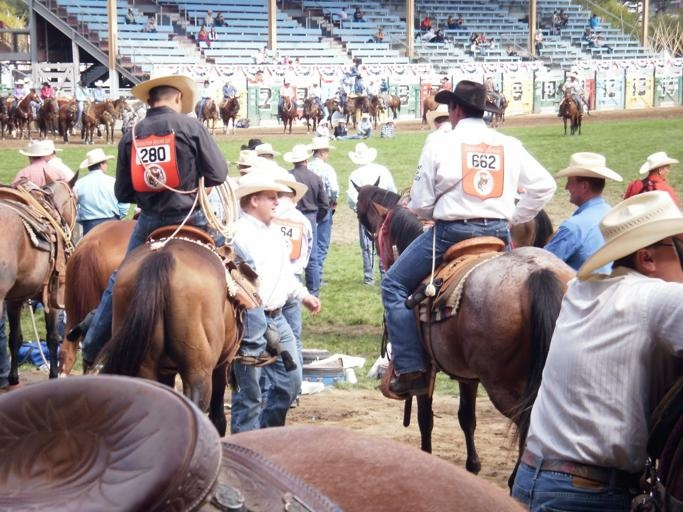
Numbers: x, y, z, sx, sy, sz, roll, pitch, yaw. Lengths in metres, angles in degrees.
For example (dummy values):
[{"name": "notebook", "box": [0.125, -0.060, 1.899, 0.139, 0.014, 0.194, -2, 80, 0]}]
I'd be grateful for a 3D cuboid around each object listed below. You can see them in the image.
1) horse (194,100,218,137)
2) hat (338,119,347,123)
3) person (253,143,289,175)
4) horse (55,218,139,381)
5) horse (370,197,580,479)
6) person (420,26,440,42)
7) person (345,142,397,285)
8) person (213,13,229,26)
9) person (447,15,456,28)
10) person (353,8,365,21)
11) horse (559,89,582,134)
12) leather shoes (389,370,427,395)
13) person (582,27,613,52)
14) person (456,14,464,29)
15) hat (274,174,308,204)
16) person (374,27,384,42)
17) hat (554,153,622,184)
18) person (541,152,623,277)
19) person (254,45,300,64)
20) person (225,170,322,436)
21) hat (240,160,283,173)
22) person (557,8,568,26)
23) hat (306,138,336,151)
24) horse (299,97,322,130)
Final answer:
[{"name": "horse", "box": [-4.087, -4.493, 36.592, 0.386, 1.059, 1.466, 4, 4, -7]}, {"name": "hat", "box": [0.022, -4.463, 37.552, 0.271, 0.105, 0.297, 0, 5, 21]}, {"name": "person", "box": [-0.802, -1.179, 13.231, 0.539, 0.311, 0.714, 3, -4, -8]}, {"name": "horse", "box": [-2.665, 0.263, 12.736, 0.525, 1.936, 2.284, 11, 10, -3]}, {"name": "horse", "box": [1.196, 0.929, 10.921, 0.789, 2.737, 3.583, -3, 2, -16]}, {"name": "person", "box": [3.952, -10.012, 51.699, 0.909, 0.556, 1.216, -1, 11, -13]}, {"name": "person", "box": [0.513, -0.783, 16.931, 0.608, 1.894, 0.556, -12, -22, 17]}, {"name": "person", "box": [-5.047, -10.024, 48.395, 0.494, 0.582, 0.996, 2, 11, 4]}, {"name": "person", "box": [5.152, -10.995, 53.853, 0.372, 0.527, 0.840, 2, 11, 4]}, {"name": "person", "box": [0.806, -11.096, 52.616, 0.436, 0.553, 1.143, 2, 11, 6]}, {"name": "horse", "box": [6.725, -4.217, 34.239, 0.424, 1.426, 1.930, 4, 1, 15]}, {"name": "leather shoes", "box": [0.642, 1.200, 10.739, 0.369, 0.168, 0.209, -1, 43, 15]}, {"name": "person", "box": [12.042, -10.255, 54.592, 0.738, 0.832, 1.865, -10, 44, -34]}, {"name": "person", "box": [5.554, -11.172, 54.012, 0.199, 0.820, 0.404, 0, -8, 7]}, {"name": "hat", "box": [-0.533, -0.731, 12.218, 0.394, 0.196, 0.491, -10, -10, -6]}, {"name": "person", "box": [1.661, -9.744, 50.360, 0.413, 0.626, 1.190, 2, 11, 1]}, {"name": "hat", "box": [2.371, -0.895, 11.365, 0.394, 0.209, 0.479, 3, -3, -22]}, {"name": "person", "box": [2.363, -0.303, 11.369, 0.719, 1.456, 0.627, -13, 22, -37]}, {"name": "person", "box": [-2.489, -7.595, 43.806, 1.633, 0.954, 0.939, -4, 14, 9]}, {"name": "person", "box": [-0.651, 0.626, 11.011, 0.812, 2.927, 0.883, -2, 23, -7]}, {"name": "hat", "box": [-0.867, -0.968, 12.319, 0.279, 0.097, 0.293, -4, -3, -30]}, {"name": "person", "box": [10.920, -11.859, 56.932, 0.483, 0.827, 1.966, 3, 11, 11]}, {"name": "hat", "box": [-0.325, -1.771, 17.948, 0.467, 0.249, 0.585, -2, 1, -1]}, {"name": "horse", "box": [-0.946, -4.855, 38.807, 0.700, 1.109, 2.448, 1, 11, -1]}]
